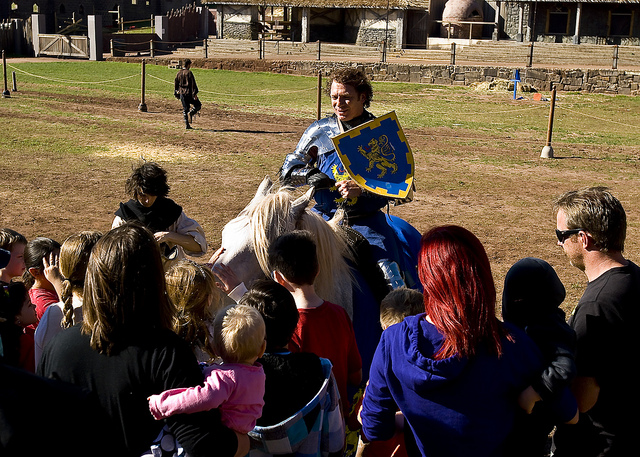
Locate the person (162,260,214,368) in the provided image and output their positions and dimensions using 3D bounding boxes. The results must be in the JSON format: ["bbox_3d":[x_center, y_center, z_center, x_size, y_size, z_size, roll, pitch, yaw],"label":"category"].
[{"bbox_3d":[-0.955,0.529,6.850,0.278,0.933,0.490,-2,-18,-32],"label":"person"}]

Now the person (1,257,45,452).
[{"bbox_3d":[-2.103,0.785,6.480,0.321,1.017,1.598,0,9,-17],"label":"person"}]

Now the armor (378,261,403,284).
[{"bbox_3d":[0.578,0.349,7.484,0.122,0.166,0.164,-2,10,-28],"label":"armor"}]

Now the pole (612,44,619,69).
[{"bbox_3d":[9.882,-5.718,30.557,0.150,0.802,1.754,5,9,17],"label":"pole"}]

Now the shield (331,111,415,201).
[{"bbox_3d":[0.519,-0.561,7.802,0.730,0.776,0.054,-10,-20,-18],"label":"shield"}]

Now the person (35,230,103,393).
[{"bbox_3d":[-1.750,0.602,6.445,0.278,0.940,0.892,5,-21,6],"label":"person"}]

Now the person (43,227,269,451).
[{"bbox_3d":[-1.097,0.792,6.230,1.097,1.878,1.106,5,20,11],"label":"person"}]

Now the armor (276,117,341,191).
[{"bbox_3d":[-0.087,-0.663,7.852,0.463,0.649,0.459,-7,22,-18],"label":"armor"}]
